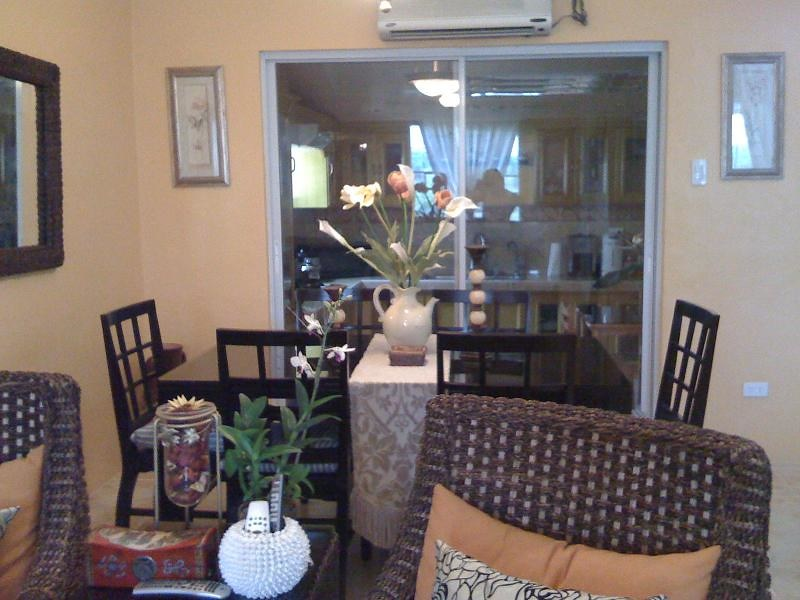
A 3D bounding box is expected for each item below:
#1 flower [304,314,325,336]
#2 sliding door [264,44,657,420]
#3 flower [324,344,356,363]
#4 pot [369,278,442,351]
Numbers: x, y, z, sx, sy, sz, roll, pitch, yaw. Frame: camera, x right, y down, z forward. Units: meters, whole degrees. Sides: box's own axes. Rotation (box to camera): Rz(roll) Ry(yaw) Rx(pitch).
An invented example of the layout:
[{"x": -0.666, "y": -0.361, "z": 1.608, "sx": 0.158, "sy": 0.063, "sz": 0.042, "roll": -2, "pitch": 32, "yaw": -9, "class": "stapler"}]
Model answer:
[{"x": -0.342, "y": 0.098, "z": 3.027, "sx": 0.046, "sy": 0.090, "sz": 0.083, "roll": -19, "pitch": -12, "yaw": 6, "class": "flower"}, {"x": 0.400, "y": -0.434, "z": 3.927, "sx": 1.945, "sy": 2.108, "sz": 0.058, "roll": 1, "pitch": 9, "yaw": 9, "class": "sliding door"}, {"x": -0.236, "y": 0.207, "z": 2.887, "sx": 0.098, "sy": 0.049, "sz": 0.114, "roll": -6, "pitch": -16, "yaw": -13, "class": "flower"}, {"x": 0.029, "y": 0.090, "z": 3.423, "sx": 0.341, "sy": 0.368, "sz": 0.253, "roll": 0, "pitch": -3, "yaw": 0, "class": "pot"}]
